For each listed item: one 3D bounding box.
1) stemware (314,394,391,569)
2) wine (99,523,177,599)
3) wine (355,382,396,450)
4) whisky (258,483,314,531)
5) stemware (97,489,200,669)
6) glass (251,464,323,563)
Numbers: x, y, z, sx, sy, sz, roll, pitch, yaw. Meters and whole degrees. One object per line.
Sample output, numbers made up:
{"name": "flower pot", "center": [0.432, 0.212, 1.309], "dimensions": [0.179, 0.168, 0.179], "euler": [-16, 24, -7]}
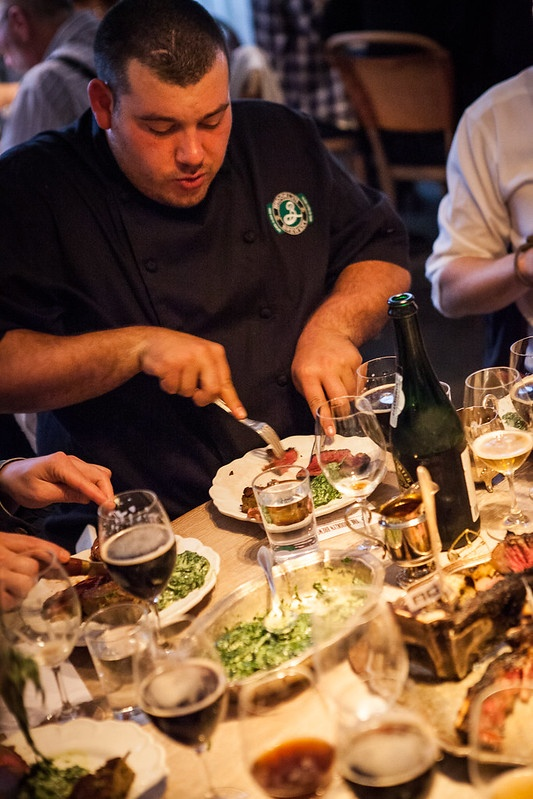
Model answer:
{"name": "stemware", "center": [0.166, 0.160, 1.152], "dimensions": [0.077, 0.176, 0.074], "euler": [-6, -22, -6]}
{"name": "wine", "center": [-0.187, 0.235, 0.983], "dimensions": [0.090, 0.102, 0.086], "euler": [-27, 28, 5]}
{"name": "wine", "center": [0.246, 0.032, 1.424], "dimensions": [0.110, 0.093, 0.127], "euler": [-16, 9, -8]}
{"name": "whisky", "center": [0.034, 0.178, 1.108], "dimensions": [0.085, 0.062, 0.086], "euler": [-8, 5, -3]}
{"name": "stemware", "center": [-0.187, 0.284, 1.040], "dimensions": [0.117, 0.288, 0.109], "euler": [-13, 15, -12]}
{"name": "glass", "center": [0.039, 0.201, 1.160], "dimensions": [0.090, 0.139, 0.091], "euler": [-3, 16, 33]}
